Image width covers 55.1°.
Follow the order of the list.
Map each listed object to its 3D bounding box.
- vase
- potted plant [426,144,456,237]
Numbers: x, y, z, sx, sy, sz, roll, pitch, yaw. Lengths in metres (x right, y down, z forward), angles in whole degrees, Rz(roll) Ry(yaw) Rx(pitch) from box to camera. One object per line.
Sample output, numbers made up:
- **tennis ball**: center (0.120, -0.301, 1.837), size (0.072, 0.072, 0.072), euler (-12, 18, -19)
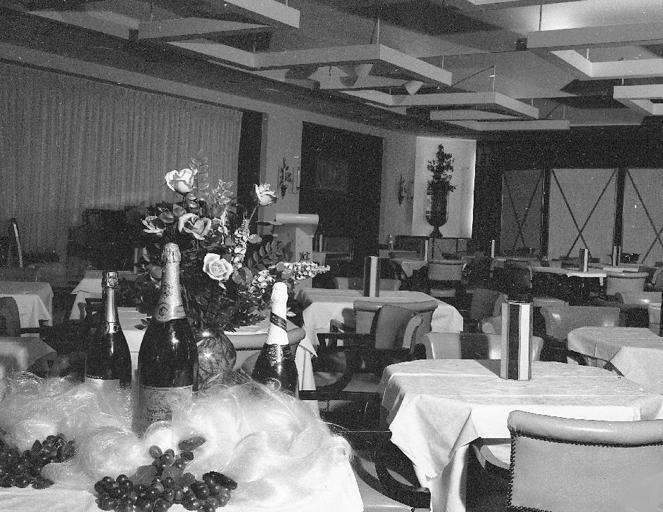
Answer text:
- **vase**: center (-0.283, 0.261, 1.556), size (0.111, 0.140, 0.121), euler (1, 4, 8)
- **potted plant**: center (2.032, -1.228, 11.855), size (0.558, 1.706, 0.408), euler (6, 1, 1)
